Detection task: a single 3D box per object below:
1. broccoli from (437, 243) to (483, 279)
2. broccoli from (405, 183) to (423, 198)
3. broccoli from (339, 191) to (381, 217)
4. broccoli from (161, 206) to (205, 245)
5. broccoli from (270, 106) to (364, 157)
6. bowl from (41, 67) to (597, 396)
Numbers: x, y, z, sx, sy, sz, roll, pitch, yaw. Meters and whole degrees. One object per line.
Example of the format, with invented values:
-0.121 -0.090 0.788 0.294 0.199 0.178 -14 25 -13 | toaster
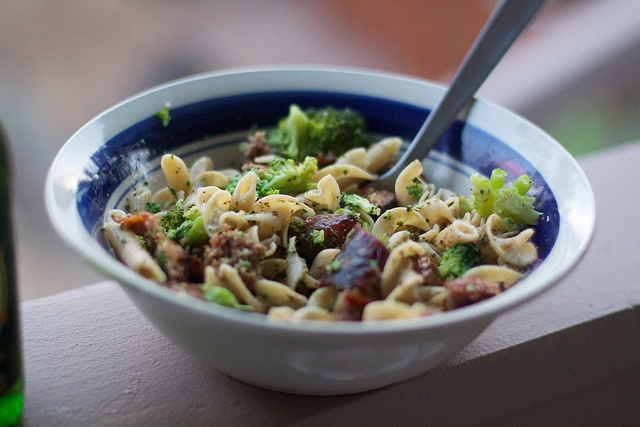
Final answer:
0.350 0.118 1.364 0.093 0.054 0.081 -35 40 -14 | broccoli
0.276 -0.064 1.589 0.038 0.015 0.040 30 58 15 | broccoli
0.116 -0.033 1.518 0.095 0.025 0.059 34 33 14 | broccoli
-0.338 0.011 1.369 0.079 0.043 0.108 3 32 -11 | broccoli
0.003 -0.223 1.726 0.218 0.178 0.112 -13 79 31 | broccoli
-0.002 -0.051 1.436 1.261 0.466 1.009 -14 64 -15 | bowl
